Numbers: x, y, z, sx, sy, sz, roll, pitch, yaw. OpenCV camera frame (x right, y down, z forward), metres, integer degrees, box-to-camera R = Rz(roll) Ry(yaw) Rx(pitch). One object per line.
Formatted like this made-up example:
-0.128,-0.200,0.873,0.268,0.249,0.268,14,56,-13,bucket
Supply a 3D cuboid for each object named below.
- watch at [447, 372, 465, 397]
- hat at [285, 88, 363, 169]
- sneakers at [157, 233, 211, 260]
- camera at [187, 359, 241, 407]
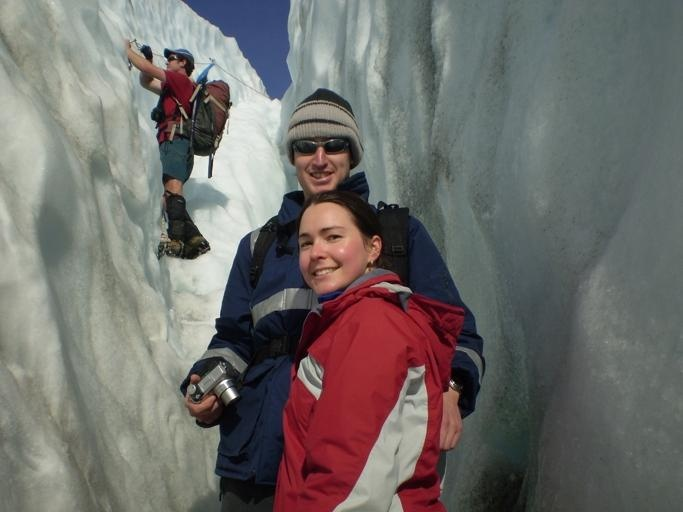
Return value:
0.502,0.574,3.906,0.069,0.110,0.094,-1,-4,8,watch
-0.093,-0.655,4.252,0.326,0.363,0.382,-4,-17,1,hat
-1.081,-0.066,5.994,0.255,0.178,0.116,-5,-2,-25,sneakers
-0.559,0.580,3.907,0.196,0.202,0.078,-39,-4,3,camera
